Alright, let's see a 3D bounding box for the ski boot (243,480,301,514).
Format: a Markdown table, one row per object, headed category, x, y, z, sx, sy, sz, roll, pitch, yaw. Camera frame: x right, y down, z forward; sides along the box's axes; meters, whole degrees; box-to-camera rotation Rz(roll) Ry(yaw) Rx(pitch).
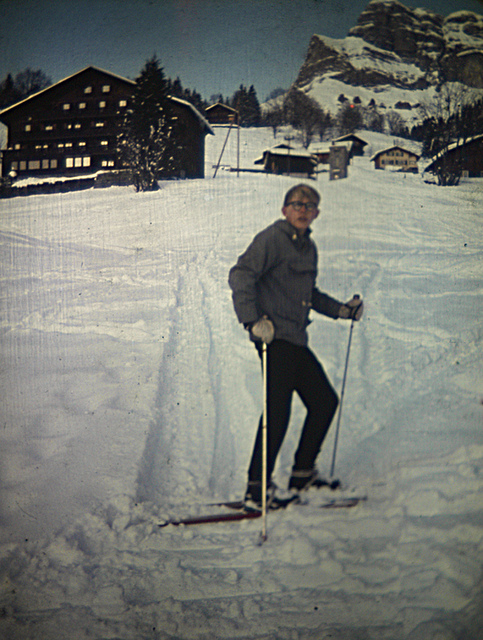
| category | x | y | z | sx | sy | sz | roll | pitch | yaw |
| --- | --- | --- | --- | --- | --- | --- | --- | --- | --- |
| ski boot | 0.249 | 1.386 | 8.228 | 0.445 | 0.263 | 0.179 | 4 | 8 | -19 |
